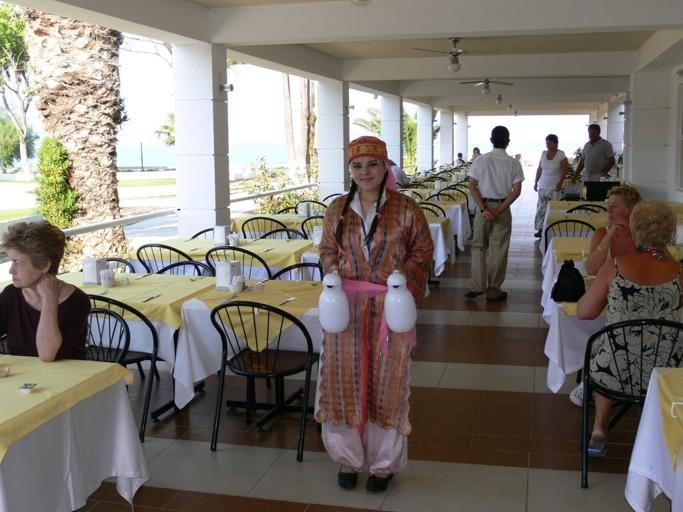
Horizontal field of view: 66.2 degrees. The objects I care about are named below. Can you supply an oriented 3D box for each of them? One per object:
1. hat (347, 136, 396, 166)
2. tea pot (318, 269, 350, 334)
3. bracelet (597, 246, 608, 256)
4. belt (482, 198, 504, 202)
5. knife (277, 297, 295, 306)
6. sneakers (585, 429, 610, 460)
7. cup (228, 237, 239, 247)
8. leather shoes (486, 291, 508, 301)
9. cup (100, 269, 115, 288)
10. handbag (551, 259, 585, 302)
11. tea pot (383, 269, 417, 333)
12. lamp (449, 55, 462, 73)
[{"bbox_3d":[0.133,-0.536,2.642,0.192,0.141,0.177,-2,9,6],"label":"hat"},{"bbox_3d":[-0.037,0.241,2.570,0.158,0.292,0.164,-2,5,0],"label":"tea pot"},{"bbox_3d":[1.776,-0.029,3.554,0.066,0.076,0.069,1,-5,12],"label":"bracelet"},{"bbox_3d":[1.707,-0.621,5.891,0.216,0.057,0.022,0,9,15],"label":"belt"},{"bbox_3d":[-0.344,0.282,3.301,0.030,0.019,0.183,13,20,27],"label":"knife"},{"bbox_3d":[1.425,1.066,2.925,0.089,0.074,0.243,-7,37,22],"label":"sneakers"},{"bbox_3d":[-1.096,-0.142,5.328,0.088,0.095,0.096,3,5,0],"label":"cup"},{"bbox_3d":[1.810,0.476,6.113,0.216,0.099,0.107,-9,11,6],"label":"leather shoes"},{"bbox_3d":[-1.651,0.161,3.704,0.110,0.134,0.114,1,-2,0],"label":"cup"},{"bbox_3d":[1.374,0.163,3.160,0.185,0.238,0.151,-14,13,-12],"label":"handbag"},{"bbox_3d":[0.283,0.227,2.514,0.163,0.306,0.128,-4,9,-6],"label":"tea pot"},{"bbox_3d":[1.929,-3.319,8.980,0.155,0.318,0.678,0,10,16],"label":"lamp"}]
